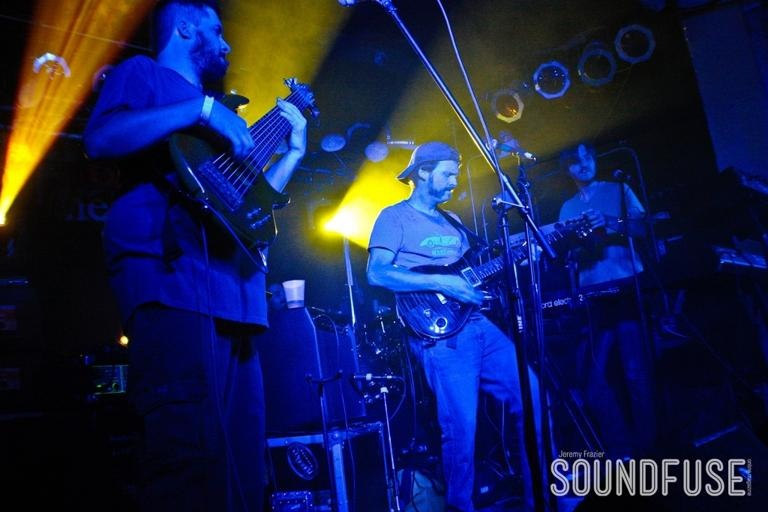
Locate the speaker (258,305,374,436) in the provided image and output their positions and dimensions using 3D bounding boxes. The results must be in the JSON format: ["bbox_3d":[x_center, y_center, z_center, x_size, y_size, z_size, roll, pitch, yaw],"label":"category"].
[{"bbox_3d":[-0.728,1.273,6.314,1.068,1.544,1.089,-20,-28,22],"label":"speaker"}]

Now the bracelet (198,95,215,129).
[{"bbox_3d":[-1.136,-0.921,3.858,0.065,0.173,0.179,7,-12,-21],"label":"bracelet"}]

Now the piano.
[{"bbox_3d":[2.094,0.485,6.311,0.129,0.309,1.047,8,-18,-32],"label":"piano"}]

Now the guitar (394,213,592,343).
[{"bbox_3d":[1.099,0.153,5.911,2.310,0.913,0.234,-23,-11,-30],"label":"guitar"}]

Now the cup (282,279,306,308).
[{"bbox_3d":[-0.878,0.379,6.022,0.243,0.260,0.243,-7,-14,-2],"label":"cup"}]
